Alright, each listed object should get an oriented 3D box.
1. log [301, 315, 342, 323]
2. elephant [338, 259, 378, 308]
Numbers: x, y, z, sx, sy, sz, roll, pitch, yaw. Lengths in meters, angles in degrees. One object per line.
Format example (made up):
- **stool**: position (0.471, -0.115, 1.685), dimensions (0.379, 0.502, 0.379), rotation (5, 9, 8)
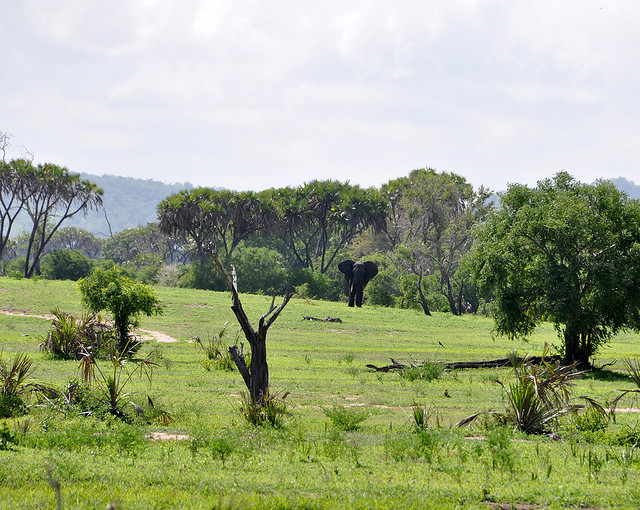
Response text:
- **log**: position (0.165, 4.055, 73.250), dimensions (2.428, 0.359, 1.651), rotation (3, -6, -6)
- **elephant**: position (2.737, 2.132, 87.373), dimensions (2.757, 3.566, 4.752), rotation (2, 0, 1)
